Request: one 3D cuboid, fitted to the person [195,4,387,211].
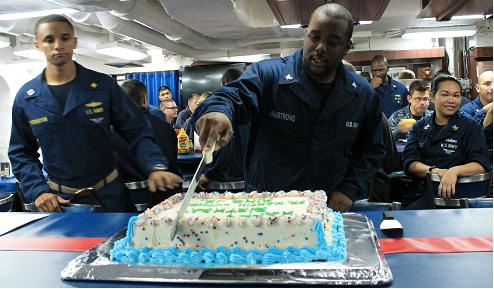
[{"bbox_3d":[0.326,-0.265,2.982,1.589,1.633,0.683,-6,7,-29],"label":"person"}]

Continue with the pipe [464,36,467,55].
[{"bbox_3d":[5.247,-2.375,8.795,0.061,0.441,0.209,0,7,30],"label":"pipe"}]

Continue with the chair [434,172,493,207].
[{"bbox_3d":[2.275,0.475,3.830,0.383,0.439,0.327,-2,8,-1],"label":"chair"}]

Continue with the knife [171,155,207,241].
[{"bbox_3d":[-0.480,0.418,3.007,0.037,0.646,0.096,14,-14,37],"label":"knife"}]

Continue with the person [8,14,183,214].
[{"bbox_3d":[-1.553,-0.280,3.335,1.350,1.860,0.508,-3,6,-1],"label":"person"}]

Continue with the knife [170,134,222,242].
[{"bbox_3d":[-0.339,0.259,2.300,0.052,0.968,0.176,23,6,16],"label":"knife"}]

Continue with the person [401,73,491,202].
[{"bbox_3d":[2.250,-0.111,4.206,0.616,1.364,0.727,-6,7,-25],"label":"person"}]

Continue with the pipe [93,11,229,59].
[{"bbox_3d":[-1.950,-2.479,8.194,0.475,0.412,3.324,-6,-10,36],"label":"pipe"}]

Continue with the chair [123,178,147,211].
[{"bbox_3d":[-1.247,0.553,4.230,0.362,0.247,0.273,0,10,18],"label":"chair"}]
